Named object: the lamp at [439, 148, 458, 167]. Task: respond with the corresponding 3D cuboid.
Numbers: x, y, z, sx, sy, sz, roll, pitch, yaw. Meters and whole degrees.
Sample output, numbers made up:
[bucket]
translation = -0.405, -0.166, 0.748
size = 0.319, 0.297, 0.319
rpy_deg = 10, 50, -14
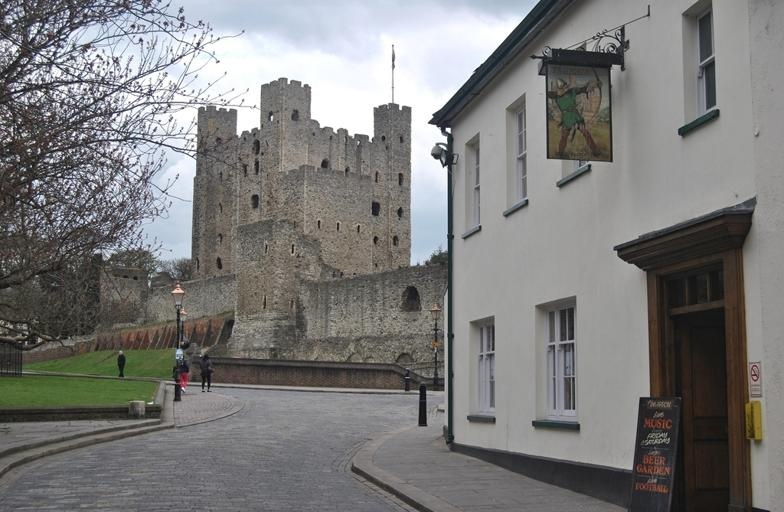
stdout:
[lamp]
translation = 1.273, -2.236, 20.953
size = 0.403, 0.395, 0.291
rpy_deg = -2, -4, 3
